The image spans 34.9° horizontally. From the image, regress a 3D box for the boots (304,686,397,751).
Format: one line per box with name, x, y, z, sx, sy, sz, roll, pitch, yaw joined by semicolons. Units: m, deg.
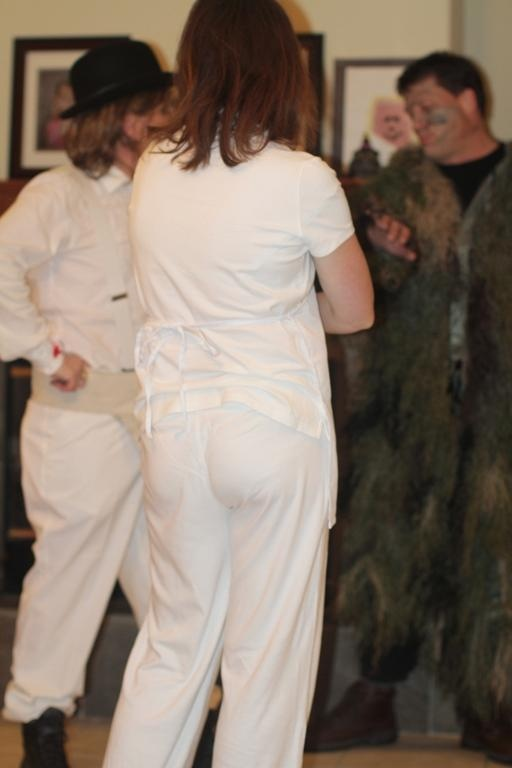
boots;0.196;0.691;1.725;0.206;0.130;0.077;3;13;-17
